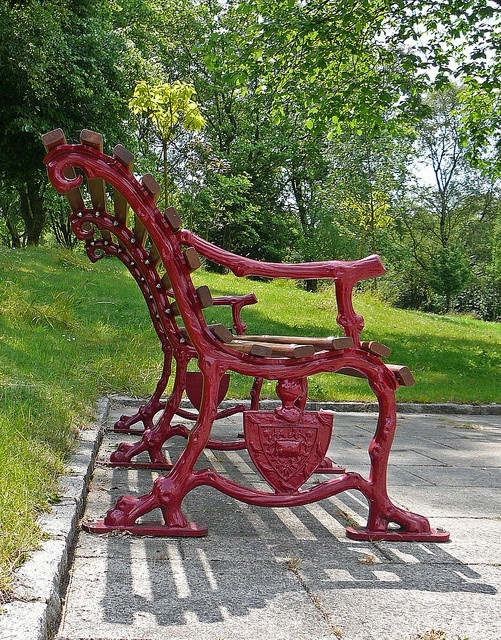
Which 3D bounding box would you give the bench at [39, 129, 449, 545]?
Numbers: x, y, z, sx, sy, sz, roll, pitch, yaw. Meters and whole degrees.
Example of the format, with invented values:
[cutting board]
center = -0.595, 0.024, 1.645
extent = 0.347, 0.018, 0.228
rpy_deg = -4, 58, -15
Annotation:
[bench]
center = -0.188, 0.034, 4.115
extent = 2.005, 1.454, 2.621
rpy_deg = 3, 1, -11
